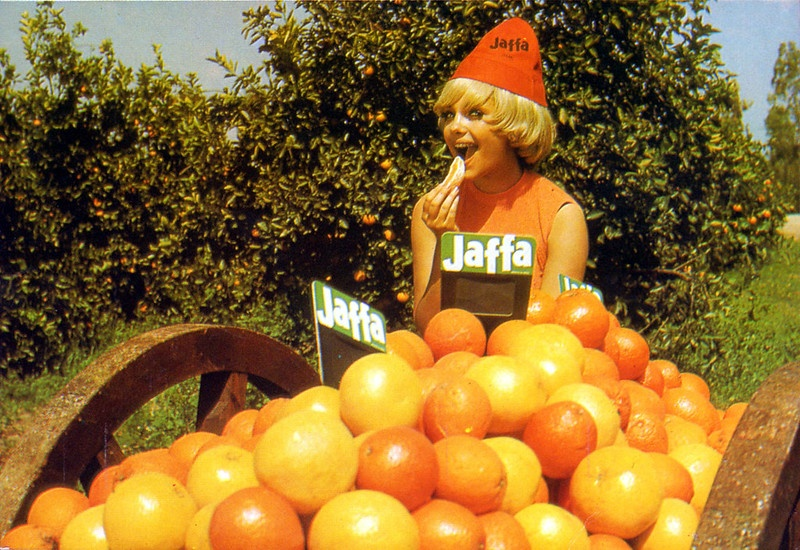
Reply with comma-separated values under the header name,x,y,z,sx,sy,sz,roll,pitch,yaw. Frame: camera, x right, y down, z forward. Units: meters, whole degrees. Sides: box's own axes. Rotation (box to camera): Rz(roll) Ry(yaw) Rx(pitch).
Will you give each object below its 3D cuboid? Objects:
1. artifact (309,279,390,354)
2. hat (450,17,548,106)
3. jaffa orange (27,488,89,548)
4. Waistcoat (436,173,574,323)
name,x,y,z,sx,sy,sz,roll,pitch,yaw
artifact,-0.219,0.174,3.120,0.441,0.261,0.057,29,-29,-24
hat,0.550,-1.076,3.418,0.315,0.283,0.502,20,43,10
jaffa orange,-1.171,0.799,2.302,0.147,0.162,0.158,21,32,-49
Waistcoat,0.518,-0.123,3.227,0.562,0.799,0.388,6,2,27
